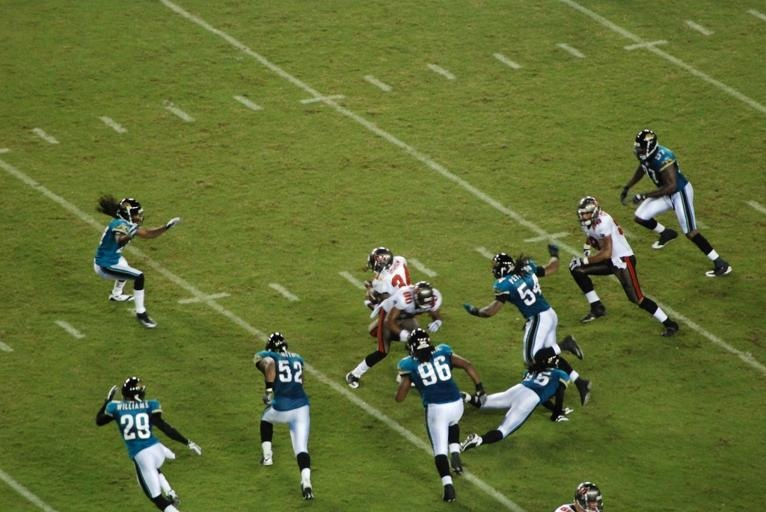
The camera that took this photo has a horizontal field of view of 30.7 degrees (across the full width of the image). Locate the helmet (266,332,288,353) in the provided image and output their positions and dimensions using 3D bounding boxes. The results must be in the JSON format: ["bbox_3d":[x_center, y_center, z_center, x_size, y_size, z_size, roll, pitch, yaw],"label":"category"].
[{"bbox_3d":[-1.371,1.144,18.386,0.249,0.233,0.281,2,-2,-42],"label":"helmet"}]

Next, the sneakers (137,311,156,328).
[{"bbox_3d":[-3.436,0.937,20.200,0.380,0.151,0.144,25,46,20],"label":"sneakers"}]

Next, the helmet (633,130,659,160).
[{"bbox_3d":[3.996,-1.621,21.040,0.339,0.559,0.316,7,37,8],"label":"helmet"}]

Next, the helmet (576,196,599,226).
[{"bbox_3d":[2.997,-0.620,20.206,0.294,0.417,0.294,4,36,4],"label":"helmet"}]

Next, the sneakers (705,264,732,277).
[{"bbox_3d":[5.067,0.239,21.246,0.471,0.188,0.142,-12,43,25],"label":"sneakers"}]

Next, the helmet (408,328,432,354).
[{"bbox_3d":[0.457,1.115,18.297,0.328,0.341,0.302,2,73,-6],"label":"helmet"}]

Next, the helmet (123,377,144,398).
[{"bbox_3d":[-3.201,1.683,17.776,0.270,0.261,0.267,-1,49,10],"label":"helmet"}]

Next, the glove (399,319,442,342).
[{"bbox_3d":[0.537,1.023,19.273,0.182,0.438,0.333,51,22,12],"label":"glove"}]

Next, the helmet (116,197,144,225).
[{"bbox_3d":[-3.627,-0.675,20.206,0.439,0.331,0.302,7,15,-3],"label":"helmet"}]

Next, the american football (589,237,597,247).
[{"bbox_3d":[3.103,-0.190,20.429,0.148,0.105,0.071,32,82,21],"label":"american football"}]

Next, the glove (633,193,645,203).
[{"bbox_3d":[3.876,-0.865,21.004,0.167,0.050,0.107,2,25,9],"label":"glove"}]

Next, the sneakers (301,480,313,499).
[{"bbox_3d":[-0.978,3.005,17.926,0.121,0.109,0.266,-2,22,-12],"label":"sneakers"}]

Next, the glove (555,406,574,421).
[{"bbox_3d":[2.493,2.162,19.073,0.313,0.124,0.101,-35,50,-8],"label":"glove"}]

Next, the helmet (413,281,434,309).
[{"bbox_3d":[0.567,0.538,18.935,0.309,0.300,0.347,2,-5,-8],"label":"helmet"}]

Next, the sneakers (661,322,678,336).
[{"bbox_3d":[4.206,1.038,20.250,0.234,0.233,0.209,8,35,9],"label":"sneakers"}]

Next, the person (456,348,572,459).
[{"bbox_3d":[1.785,1.912,18.922,2.031,0.829,0.983,-27,34,14],"label":"person"}]

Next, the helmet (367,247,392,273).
[{"bbox_3d":[-0.067,0.037,19.792,0.421,0.294,0.318,6,14,31],"label":"helmet"}]

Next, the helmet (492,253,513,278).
[{"bbox_3d":[1.721,0.127,19.329,0.336,0.301,0.360,-5,16,-25],"label":"helmet"}]

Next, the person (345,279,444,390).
[{"bbox_3d":[0.252,1.070,19.402,1.220,1.550,0.954,3,26,-30],"label":"person"}]
